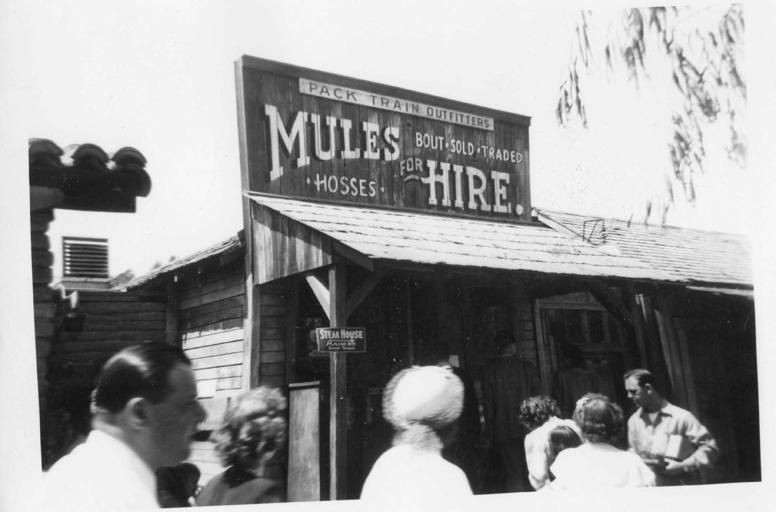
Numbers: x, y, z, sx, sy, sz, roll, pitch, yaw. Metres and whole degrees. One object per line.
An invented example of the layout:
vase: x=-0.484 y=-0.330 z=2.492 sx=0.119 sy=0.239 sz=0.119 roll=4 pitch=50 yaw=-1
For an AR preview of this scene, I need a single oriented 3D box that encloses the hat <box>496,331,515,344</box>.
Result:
hat: x=1.785 y=1.244 z=14.339 sx=0.229 sy=0.218 sz=0.061 roll=-5 pitch=3 yaw=-18
